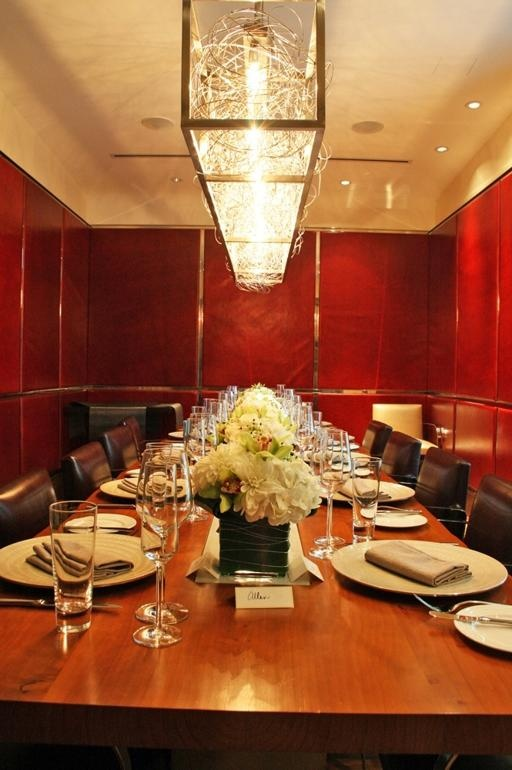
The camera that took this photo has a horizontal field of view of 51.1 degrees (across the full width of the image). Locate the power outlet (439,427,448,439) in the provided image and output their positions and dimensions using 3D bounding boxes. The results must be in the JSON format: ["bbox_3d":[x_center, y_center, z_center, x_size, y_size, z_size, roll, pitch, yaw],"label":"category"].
[{"bbox_3d":[2.023,0.511,5.737,0.075,0.150,0.087,0,1,-6],"label":"power outlet"}]

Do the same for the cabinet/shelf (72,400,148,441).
[{"bbox_3d":[-1.542,0.343,5.327,0.609,0.285,0.590,0,-5,0],"label":"cabinet/shelf"}]

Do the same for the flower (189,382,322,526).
[{"bbox_3d":[-0.001,0.144,1.152,0.197,0.161,0.358,4,26,0],"label":"flower"}]
